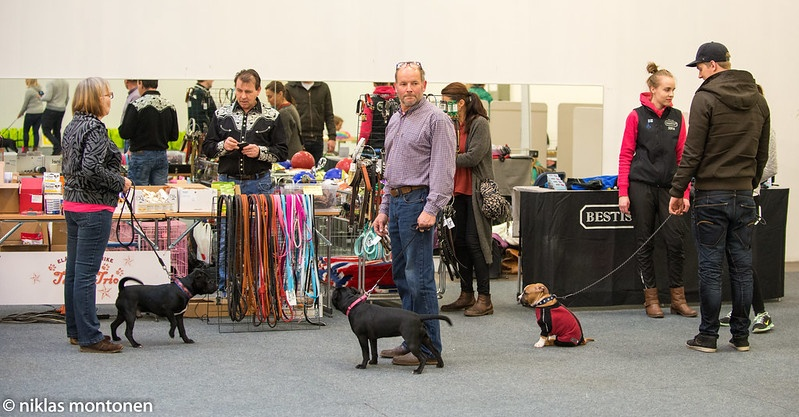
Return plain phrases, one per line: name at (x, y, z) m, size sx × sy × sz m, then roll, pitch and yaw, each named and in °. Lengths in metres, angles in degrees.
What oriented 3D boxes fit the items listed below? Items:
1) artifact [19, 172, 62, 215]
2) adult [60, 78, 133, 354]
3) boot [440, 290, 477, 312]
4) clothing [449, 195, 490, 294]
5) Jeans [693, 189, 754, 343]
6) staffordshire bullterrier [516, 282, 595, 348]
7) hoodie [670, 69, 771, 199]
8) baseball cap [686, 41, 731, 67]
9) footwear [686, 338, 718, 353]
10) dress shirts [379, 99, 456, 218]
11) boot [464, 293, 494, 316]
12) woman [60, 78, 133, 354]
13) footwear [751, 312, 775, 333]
artifact at (-4.392, -0.151, 9.306) m, size 0.538 × 0.420 × 0.412 m, roll 5°, pitch 0°, yaw -18°
adult at (-3.305, 0.078, 8.184) m, size 0.730 × 2.960 × 0.385 m, roll -2°, pitch 3°, yaw -6°
boot at (0.795, 1.206, 9.887) m, size 0.527 × 0.285 × 0.187 m, roll 1°, pitch -1°, yaw -1°
clothing at (0.923, 0.440, 9.652) m, size 0.486 × 1.431 × 0.353 m, roll -14°, pitch -25°, yaw 30°
Jeans at (3.630, 0.580, 8.533) m, size 0.735 × 1.741 × 0.576 m, roll 2°, pitch -4°, yaw -8°
staffordshire bullterrier at (1.753, 1.211, 8.596) m, size 0.906 × 0.657 × 0.420 m, roll 4°, pitch -2°, yaw -6°
hoodie at (3.606, -0.813, 8.497) m, size 1.141 × 1.360 × 0.589 m, roll -3°, pitch 12°, yaw -15°
baseball cap at (3.496, -1.731, 8.555) m, size 0.325 × 0.245 × 0.465 m, roll 3°, pitch -6°, yaw -36°
footwear at (3.346, 1.501, 8.414) m, size 0.139 × 0.131 × 0.322 m, roll -1°, pitch 3°, yaw -32°
dress shirts at (0.204, -0.536, 7.900) m, size 0.697 × 1.201 × 0.259 m, roll 0°, pitch 3°, yaw 33°
boot at (1.034, 1.238, 9.564) m, size 0.473 × 0.257 × 0.171 m, roll 3°, pitch -4°, yaw -30°
woman at (-3.305, 0.078, 8.187) m, size 0.727 × 2.960 × 0.394 m, roll -2°, pitch 3°, yaw -7°
footwear at (4.294, 1.366, 9.001) m, size 0.150 × 0.155 × 0.368 m, roll -9°, pitch -12°, yaw 29°
